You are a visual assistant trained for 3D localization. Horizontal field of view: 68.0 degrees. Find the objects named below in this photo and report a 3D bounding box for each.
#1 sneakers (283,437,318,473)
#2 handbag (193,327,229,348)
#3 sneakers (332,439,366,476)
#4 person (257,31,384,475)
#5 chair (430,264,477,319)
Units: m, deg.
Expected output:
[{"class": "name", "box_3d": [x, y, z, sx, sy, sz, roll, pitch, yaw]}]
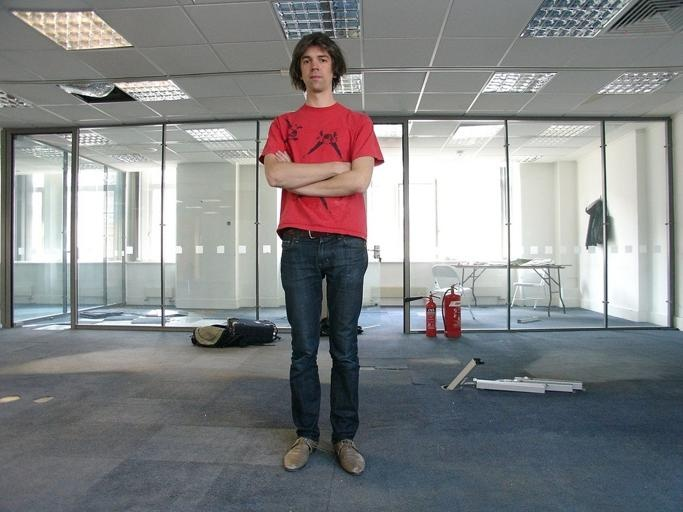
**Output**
[{"class": "sneakers", "box_3d": [-0.256, 1.258, 3.313, 0.153, 0.113, 0.387, 11, 6, 13]}, {"class": "handbag", "box_3d": [-1.631, 0.986, 6.278, 0.505, 0.240, 0.258, 0, 9, -3]}, {"class": "sneakers", "box_3d": [0.060, 1.268, 3.241, 0.202, 0.179, 0.187, 0, 9, -2]}, {"class": "person", "box_3d": [-0.119, -0.039, 3.277, 0.753, 2.747, 0.637, 1, 9, 5]}, {"class": "chair", "box_3d": [1.920, 0.524, 8.507, 0.889, 0.587, 0.503, 17, -2, -32]}]
